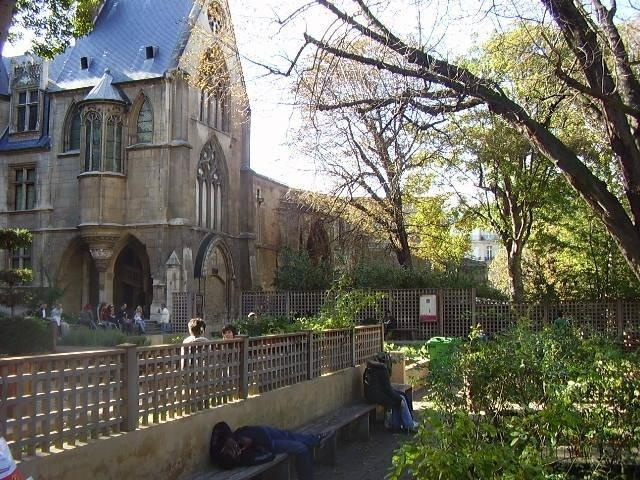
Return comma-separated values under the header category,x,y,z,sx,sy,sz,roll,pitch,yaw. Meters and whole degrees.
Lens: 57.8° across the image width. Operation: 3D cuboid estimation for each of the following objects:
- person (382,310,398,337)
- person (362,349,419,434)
category,x,y,z,sx,sy,sz,roll,pitch,yaw
person,2.880,3.491,24.163,0.505,1.088,1.028,-5,-11,28
person,1.339,2.859,11.192,0.838,1.533,0.500,-3,5,1
